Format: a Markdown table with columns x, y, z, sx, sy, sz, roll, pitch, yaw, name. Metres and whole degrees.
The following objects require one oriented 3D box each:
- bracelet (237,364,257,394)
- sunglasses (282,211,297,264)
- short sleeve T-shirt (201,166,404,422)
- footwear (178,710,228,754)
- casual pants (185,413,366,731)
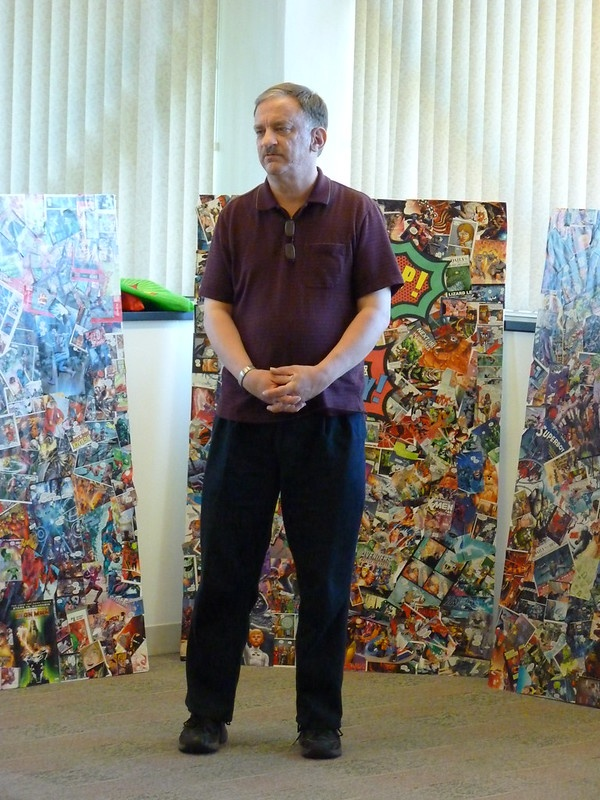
| x | y | z | sx | sy | sz | roll | pitch | yaw | name |
| --- | --- | --- | --- | --- | --- | --- | --- | --- | --- |
| -0.108 | -0.039 | 1.328 | 0.030 | 0.047 | 0.041 | 39 | -21 | 27 | bracelet |
| -0.020 | -0.323 | 1.326 | 0.020 | 0.089 | 0.030 | 2 | 2 | -12 | sunglasses |
| 0.005 | -0.269 | 1.384 | 0.427 | 0.417 | 0.220 | 2 | 2 | -6 | short sleeve T-shirt |
| -0.207 | 0.706 | 1.393 | 0.054 | 0.052 | 0.123 | 1 | -15 | 3 | footwear |
| -0.066 | 0.319 | 1.437 | 0.340 | 0.783 | 0.191 | 2 | 0 | 2 | casual pants |
